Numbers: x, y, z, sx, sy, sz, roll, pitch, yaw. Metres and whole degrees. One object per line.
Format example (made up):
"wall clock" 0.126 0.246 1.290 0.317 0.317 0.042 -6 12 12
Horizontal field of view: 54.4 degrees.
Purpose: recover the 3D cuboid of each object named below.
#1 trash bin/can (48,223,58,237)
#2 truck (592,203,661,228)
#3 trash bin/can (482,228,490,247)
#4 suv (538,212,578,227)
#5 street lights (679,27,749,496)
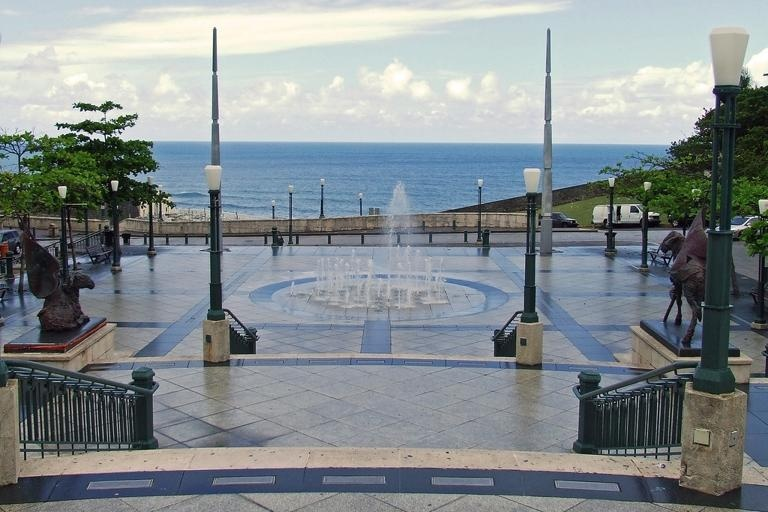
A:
"trash bin/can" -20.870 -1.576 47.108 0.752 1.063 1.145 0 0 -11
"truck" 16.441 -2.742 51.234 5.899 1.756 2.760 0 7 8
"trash bin/can" 5.229 -0.884 38.239 0.476 0.849 1.118 1 3 4
"suv" 12.524 -2.481 51.785 1.519 0.959 2.064 -1 7 13
"street lights" 4.747 0.155 10.677 0.771 6.622 0.762 2 9 37
